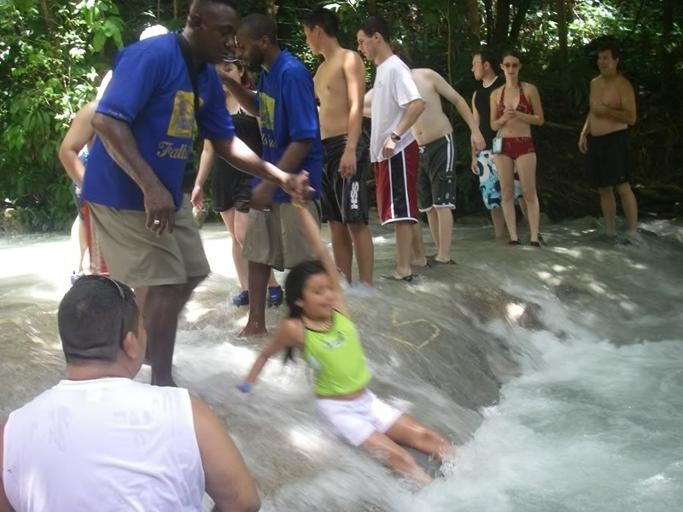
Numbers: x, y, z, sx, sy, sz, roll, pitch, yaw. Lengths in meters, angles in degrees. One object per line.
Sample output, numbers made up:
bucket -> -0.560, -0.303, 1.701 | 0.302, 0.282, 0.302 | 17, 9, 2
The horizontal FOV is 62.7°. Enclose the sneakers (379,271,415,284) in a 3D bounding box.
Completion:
sneakers -> 0.567, 0.186, 5.563 | 0.304, 0.092, 0.128 | 6, 4, 21

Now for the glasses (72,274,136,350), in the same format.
glasses -> -0.740, 0.208, 1.784 | 0.153, 0.239, 0.239 | 1, -42, -8

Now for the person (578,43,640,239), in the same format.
person -> 3.734, -1.645, 7.740 | 0.784, 2.671, 0.527 | 6, 13, 36
